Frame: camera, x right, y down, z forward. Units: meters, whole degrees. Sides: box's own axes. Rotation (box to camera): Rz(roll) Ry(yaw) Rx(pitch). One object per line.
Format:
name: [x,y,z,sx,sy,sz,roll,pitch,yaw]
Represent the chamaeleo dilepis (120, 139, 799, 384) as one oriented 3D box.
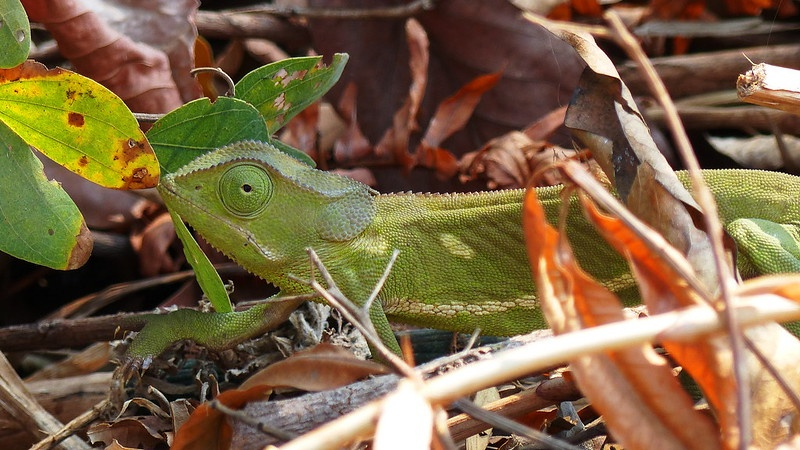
chamaeleo dilepis: [0.100,0.068,1.433,1.168,0.385,0.263,4,32,-3]
